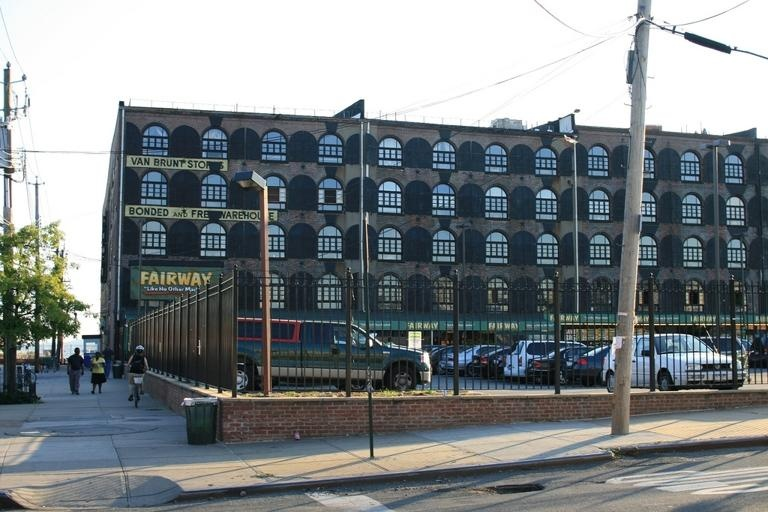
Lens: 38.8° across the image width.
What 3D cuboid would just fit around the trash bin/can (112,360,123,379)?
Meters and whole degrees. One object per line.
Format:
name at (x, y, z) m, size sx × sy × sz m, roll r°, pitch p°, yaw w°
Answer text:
trash bin/can at (-14.904, 6.287, 60.390) m, size 0.801 × 1.154 × 0.802 m, roll 0°, pitch -5°, yaw -9°

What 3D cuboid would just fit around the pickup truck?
pickup truck at (-1.611, 3.080, 34.579) m, size 5.990 × 2.400 × 3.601 m, roll 1°, pitch -7°, yaw -7°

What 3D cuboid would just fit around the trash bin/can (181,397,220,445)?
trash bin/can at (-5.260, 4.882, 32.101) m, size 1.306 × 1.431 × 1.125 m, roll 1°, pitch -10°, yaw -13°
